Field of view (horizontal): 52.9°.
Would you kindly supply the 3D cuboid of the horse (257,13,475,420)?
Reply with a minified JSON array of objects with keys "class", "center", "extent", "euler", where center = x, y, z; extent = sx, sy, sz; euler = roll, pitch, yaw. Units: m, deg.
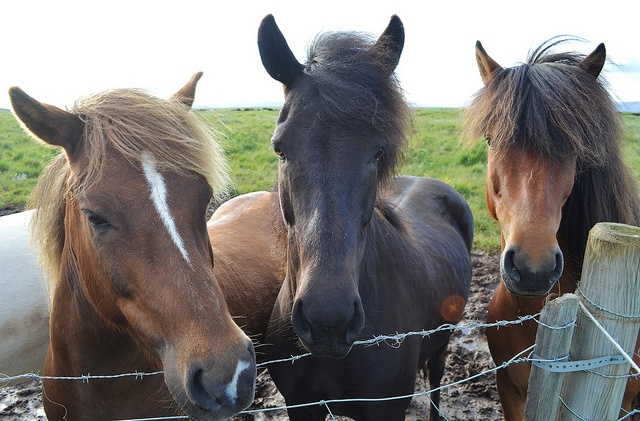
[{"class":"horse","center":[0.624,0.242,6.571],"extent":[1.383,4.066,3.664],"euler":[2,7,29]}]
